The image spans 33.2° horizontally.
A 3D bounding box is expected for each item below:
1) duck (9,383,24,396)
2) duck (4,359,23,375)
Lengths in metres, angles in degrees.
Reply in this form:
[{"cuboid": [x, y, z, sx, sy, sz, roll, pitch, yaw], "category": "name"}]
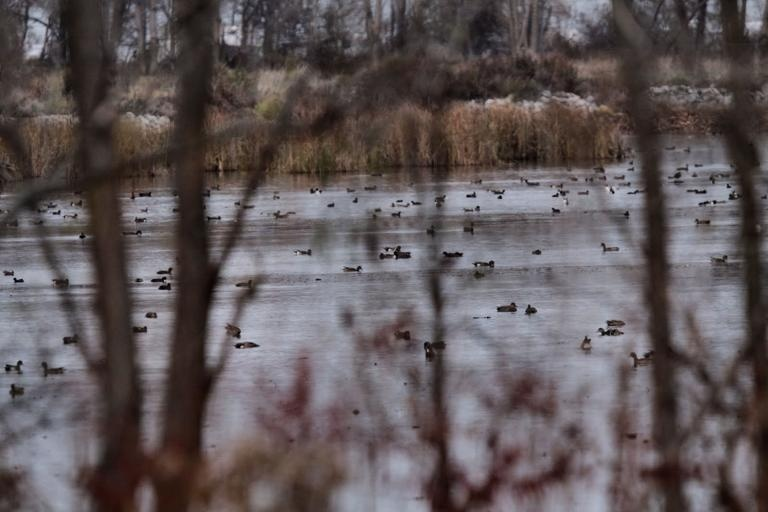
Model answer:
[{"cuboid": [-1.750, 0.632, 6.109, 0.069, 0.040, 0.094, 3, -4, 1], "category": "duck"}, {"cuboid": [-1.906, 0.566, 6.628, 0.087, 0.049, 0.119, 0, 3, -3], "category": "duck"}]
